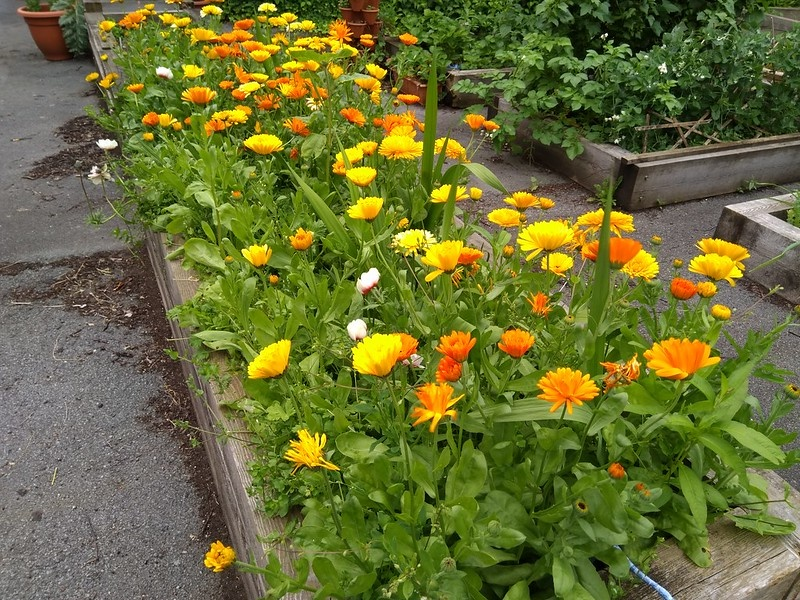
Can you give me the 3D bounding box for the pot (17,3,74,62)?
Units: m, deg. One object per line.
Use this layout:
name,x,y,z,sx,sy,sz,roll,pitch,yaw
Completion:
pot,-4.628,-3.486,7.189,0.724,0.584,0.730,1,38,-1
